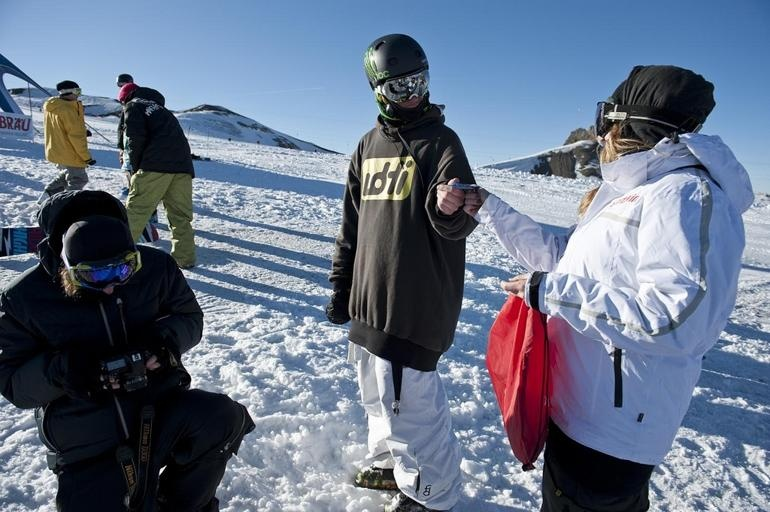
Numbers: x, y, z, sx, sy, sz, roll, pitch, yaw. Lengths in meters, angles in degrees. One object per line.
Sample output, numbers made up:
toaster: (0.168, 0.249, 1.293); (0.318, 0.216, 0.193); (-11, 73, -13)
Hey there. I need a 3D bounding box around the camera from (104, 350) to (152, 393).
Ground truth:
camera: (-1.688, 0.752, 3.827); (0.268, 0.238, 0.079); (-3, 15, -25)
